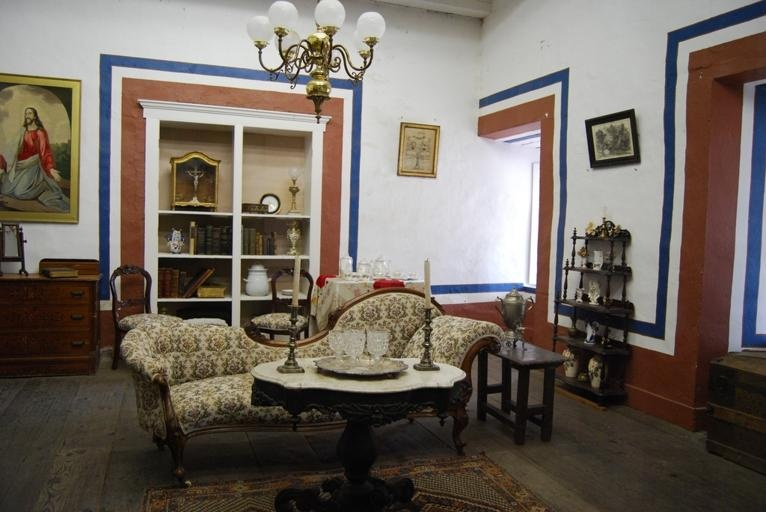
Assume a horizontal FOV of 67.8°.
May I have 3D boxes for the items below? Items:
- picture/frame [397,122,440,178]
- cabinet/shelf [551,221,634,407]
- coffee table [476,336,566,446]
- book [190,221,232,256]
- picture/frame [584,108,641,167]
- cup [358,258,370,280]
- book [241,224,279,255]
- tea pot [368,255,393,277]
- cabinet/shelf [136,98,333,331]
[{"bbox_3d":[0.471,-1.503,8.002,0.715,0.862,0.069,5,4,-21],"label":"picture/frame"},{"bbox_3d":[2.304,0.578,6.411,0.513,2.004,0.957,0,3,-20],"label":"cabinet/shelf"},{"bbox_3d":[1.363,1.284,5.809,0.827,1.112,1.131,-3,8,-16],"label":"coffee table"},{"bbox_3d":[-2.208,-0.219,7.303,0.513,0.398,0.149,0,3,-20],"label":"book"},{"bbox_3d":[2.570,-1.313,6.300,0.051,0.752,0.728,-8,4,-26],"label":"picture/frame"},{"bbox_3d":[-0.239,0.157,6.908,0.193,0.287,0.197,0,-4,0],"label":"cup"},{"bbox_3d":[-1.614,-0.181,7.445,0.417,0.339,0.173,-1,4,-37],"label":"book"},{"bbox_3d":[-0.033,0.146,7.138,0.275,0.273,0.208,-1,1,-9],"label":"tea pot"},{"bbox_3d":[-1.963,-0.541,7.253,2.953,3.694,0.734,0,1,-22],"label":"cabinet/shelf"}]
